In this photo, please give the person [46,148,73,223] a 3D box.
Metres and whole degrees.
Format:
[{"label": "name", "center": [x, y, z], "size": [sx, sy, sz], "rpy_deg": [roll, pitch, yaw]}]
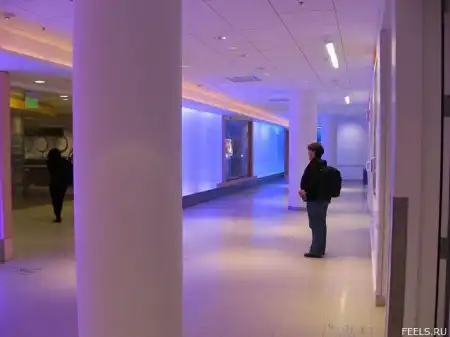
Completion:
[{"label": "person", "center": [-5.027, 0.534, 10.513], "size": [0.684, 2.280, 1.097], "rpy_deg": [-2, 3, -28]}]
